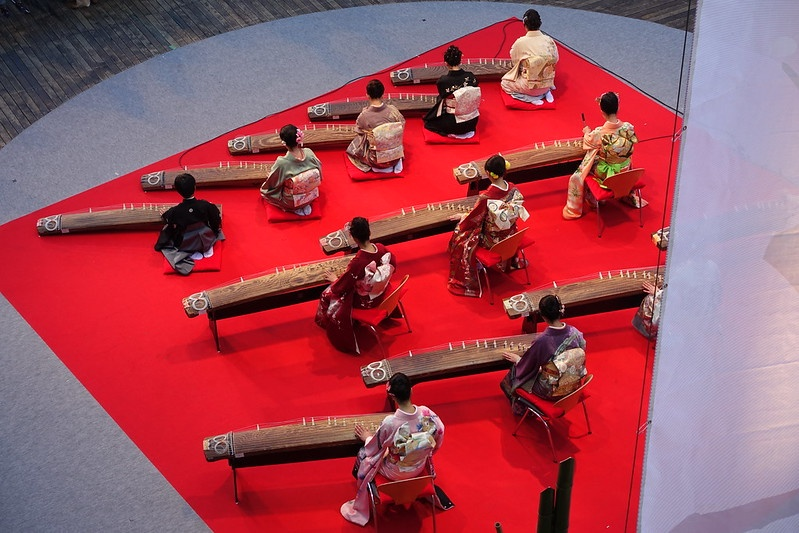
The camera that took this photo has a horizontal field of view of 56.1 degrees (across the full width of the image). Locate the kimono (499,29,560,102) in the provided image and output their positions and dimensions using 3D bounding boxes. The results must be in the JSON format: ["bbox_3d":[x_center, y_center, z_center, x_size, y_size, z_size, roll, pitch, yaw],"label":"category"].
[{"bbox_3d":[1.855,-2.960,10.679,0.821,1.119,0.870,-2,33,7],"label":"kimono"}]

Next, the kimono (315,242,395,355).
[{"bbox_3d":[-0.431,0.247,8.090,0.824,1.072,0.697,-19,38,-34],"label":"kimono"}]

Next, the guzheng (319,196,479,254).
[{"bbox_3d":[0.020,-0.467,8.795,1.456,0.339,0.269,-15,57,-3],"label":"guzheng"}]

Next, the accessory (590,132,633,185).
[{"bbox_3d":[2.494,-1.306,8.809,0.455,0.544,0.363,-16,41,2],"label":"accessory"}]

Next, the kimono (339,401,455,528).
[{"bbox_3d":[-0.032,1.836,6.748,0.839,1.353,0.789,-5,47,-12],"label":"kimono"}]

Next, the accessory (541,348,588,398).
[{"bbox_3d":[1.517,1.002,7.101,0.506,0.444,0.298,-11,29,-34],"label":"accessory"}]

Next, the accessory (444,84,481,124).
[{"bbox_3d":[0.795,-2.205,10.034,0.464,0.435,0.438,-14,55,-10],"label":"accessory"}]

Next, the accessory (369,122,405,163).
[{"bbox_3d":[-0.185,-1.611,9.575,0.426,0.488,0.263,-14,55,-11],"label":"accessory"}]

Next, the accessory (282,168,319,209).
[{"bbox_3d":[-1.226,-0.988,9.135,0.359,0.337,0.196,-28,58,-23],"label":"accessory"}]

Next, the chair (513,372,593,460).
[{"bbox_3d":[1.471,1.317,7.184,0.573,0.814,0.589,-26,35,-38],"label":"chair"}]

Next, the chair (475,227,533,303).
[{"bbox_3d":[1.096,-0.068,8.460,0.697,0.725,0.531,-21,13,-25],"label":"chair"}]

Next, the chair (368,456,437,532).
[{"bbox_3d":[0.003,1.983,6.543,0.574,0.990,0.640,-4,68,-5],"label":"chair"}]

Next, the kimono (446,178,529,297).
[{"bbox_3d":[0.997,-0.276,8.487,1.053,0.976,0.655,-24,46,-20],"label":"kimono"}]

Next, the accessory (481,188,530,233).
[{"bbox_3d":[1.194,-0.587,8.270,0.462,0.444,0.230,-28,38,-15],"label":"accessory"}]

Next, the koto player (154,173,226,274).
[{"bbox_3d":[-2.421,-0.624,8.782,0.896,0.994,0.787,-17,34,-32],"label":"koto player"}]

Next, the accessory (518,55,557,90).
[{"bbox_3d":[1.879,-2.745,10.594,0.608,0.548,0.399,-1,42,1],"label":"accessory"}]

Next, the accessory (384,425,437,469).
[{"bbox_3d":[0.075,1.534,6.444,0.362,0.333,0.200,-8,45,-12],"label":"accessory"}]

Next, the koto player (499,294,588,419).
[{"bbox_3d":[1.403,0.904,7.310,0.631,1.221,0.800,-20,38,-16],"label":"koto player"}]

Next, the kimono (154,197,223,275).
[{"bbox_3d":[-2.459,-0.281,8.787,0.744,0.281,0.907,-2,75,-6],"label":"kimono"}]

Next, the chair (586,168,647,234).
[{"bbox_3d":[2.604,-0.796,9.057,0.532,0.839,0.546,-11,64,2],"label":"chair"}]

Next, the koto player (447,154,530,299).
[{"bbox_3d":[1.030,-0.416,8.577,1.152,1.560,0.845,-22,40,-19],"label":"koto player"}]

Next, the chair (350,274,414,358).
[{"bbox_3d":[-0.249,0.539,7.899,0.493,0.553,0.488,-4,15,15],"label":"chair"}]
